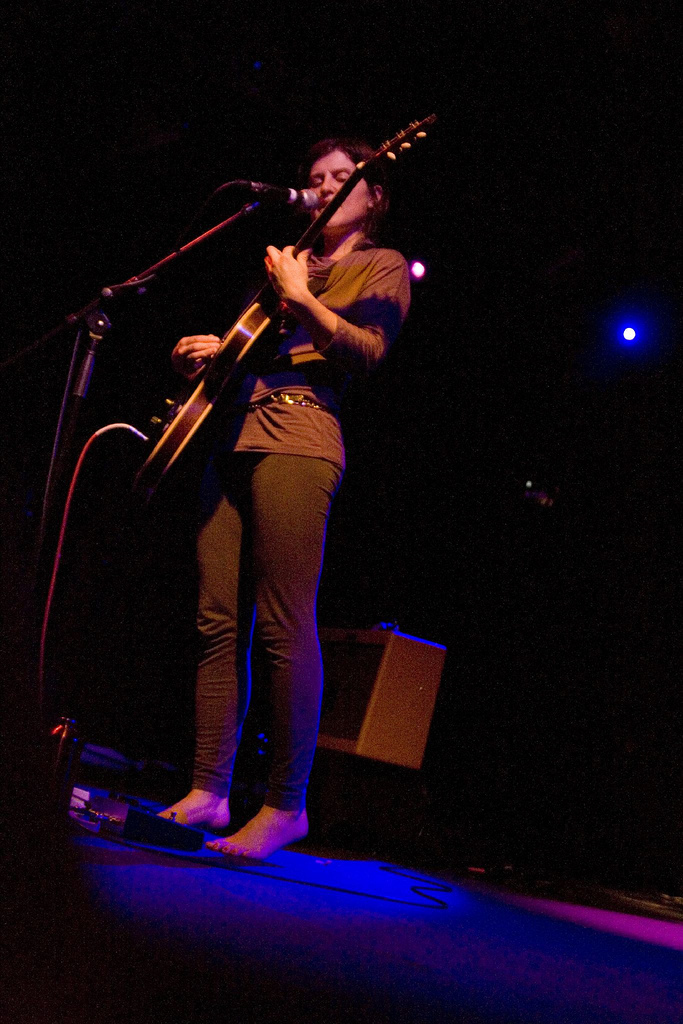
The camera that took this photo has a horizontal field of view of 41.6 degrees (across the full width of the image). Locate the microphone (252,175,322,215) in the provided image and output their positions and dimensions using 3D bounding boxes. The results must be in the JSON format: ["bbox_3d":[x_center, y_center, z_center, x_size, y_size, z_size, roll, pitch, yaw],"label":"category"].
[{"bbox_3d":[-0.142,-0.834,2.332,0.234,0.056,0.065,2,0,-40],"label":"microphone"}]
